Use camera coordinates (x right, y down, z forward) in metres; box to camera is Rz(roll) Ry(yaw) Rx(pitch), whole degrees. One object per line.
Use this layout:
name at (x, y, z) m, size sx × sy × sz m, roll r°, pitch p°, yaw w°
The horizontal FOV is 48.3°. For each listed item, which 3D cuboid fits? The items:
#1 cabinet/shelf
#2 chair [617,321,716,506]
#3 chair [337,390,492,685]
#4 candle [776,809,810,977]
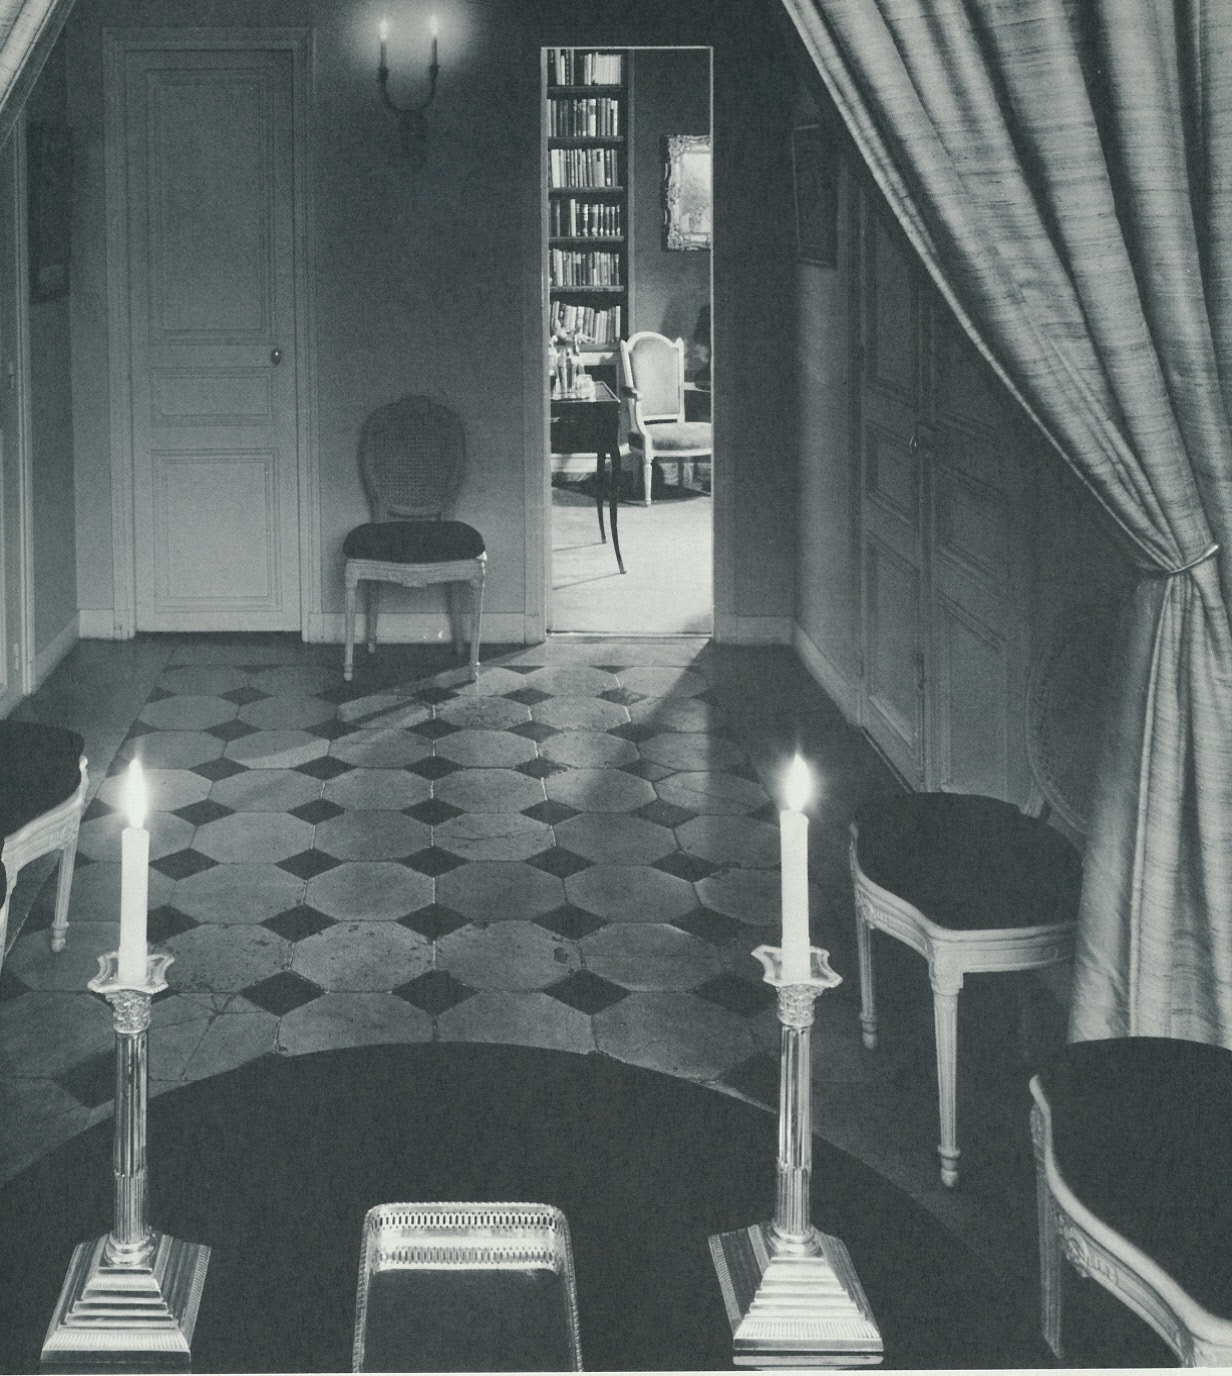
cabinet/shelf at (-0.199, -3.302, 9.510) m, size 0.743 × 2.075 × 0.471 m, roll 3°, pitch 4°, yaw -14°
chair at (0.312, -1.672, 8.730) m, size 0.579 × 1.050 × 1.279 m, roll 5°, pitch 4°, yaw 3°
chair at (-0.782, -0.583, 5.362) m, size 0.593 × 1.137 × 0.681 m, roll 4°, pitch 4°, yaw -10°
candle at (0.109, 0.128, 0.834) m, size 0.023 × 0.101 × 0.063 m, roll 5°, pitch 4°, yaw 7°
